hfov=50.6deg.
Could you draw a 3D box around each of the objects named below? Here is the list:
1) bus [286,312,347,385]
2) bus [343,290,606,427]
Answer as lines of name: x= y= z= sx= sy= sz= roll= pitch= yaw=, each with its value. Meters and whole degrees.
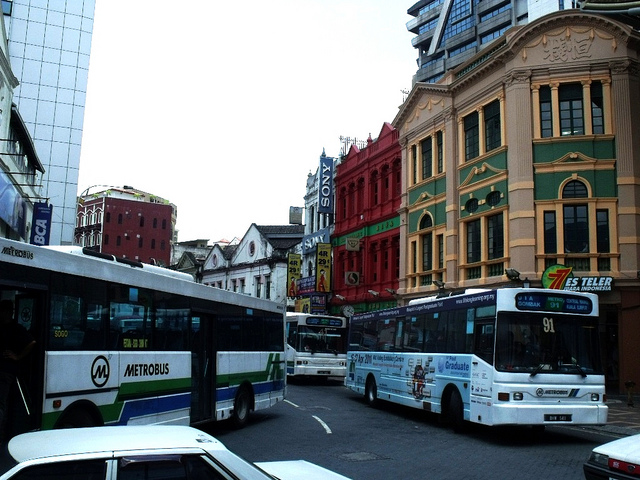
bus: x=-0.060 y=6.475 z=36.075 sx=1.853 sy=2.732 sz=6.286 roll=15 pitch=-11 yaw=7
bus: x=3.904 y=3.753 z=22.155 sx=3.083 sy=3.555 sz=11.997 roll=2 pitch=-12 yaw=-15
